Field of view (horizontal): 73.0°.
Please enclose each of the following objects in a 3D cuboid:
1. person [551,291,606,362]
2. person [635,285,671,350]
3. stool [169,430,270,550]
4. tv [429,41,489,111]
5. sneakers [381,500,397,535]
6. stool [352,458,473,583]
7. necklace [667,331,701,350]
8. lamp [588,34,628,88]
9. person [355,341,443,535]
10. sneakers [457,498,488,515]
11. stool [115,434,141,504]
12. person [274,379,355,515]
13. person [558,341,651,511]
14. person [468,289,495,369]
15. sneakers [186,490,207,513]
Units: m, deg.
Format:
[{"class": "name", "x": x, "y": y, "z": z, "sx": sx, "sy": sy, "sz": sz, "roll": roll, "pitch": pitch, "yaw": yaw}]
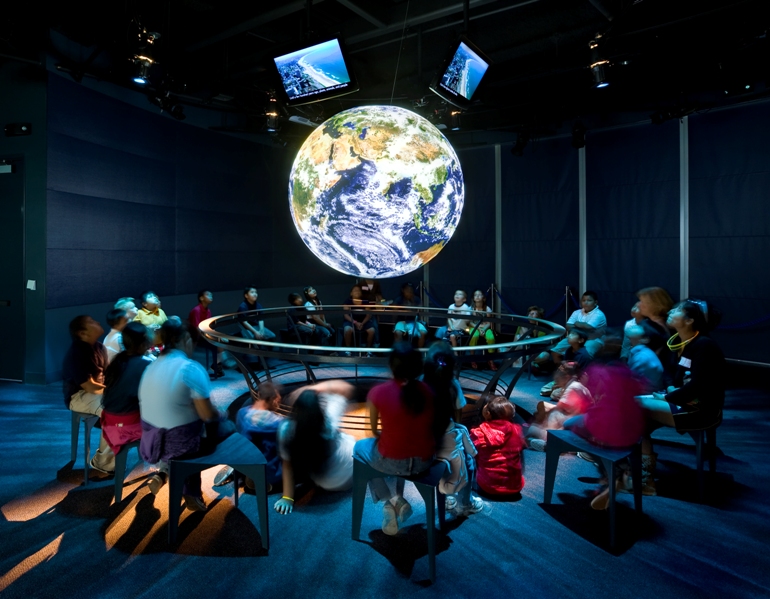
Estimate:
[{"class": "person", "x": 3.114, "y": 0.560, "z": 8.316, "sx": 0.717, "sy": 1.301, "sz": 0.535, "roll": 1, "pitch": 5, "yaw": -33}, {"class": "person", "x": 2.935, "y": 0.221, "z": 5.710, "sx": 0.319, "sy": 0.731, "sz": 0.301, "roll": -2, "pitch": 13, "yaw": 3}, {"class": "stool", "x": -1.476, "y": 1.626, "z": 4.460, "sx": 0.955, "sy": 0.761, "sz": 1.115, "roll": 2, "pitch": 4, "yaw": -6}, {"class": "tv", "x": 0.824, "y": -2.914, "z": 6.512, "sx": 0.433, "sy": 0.750, "sz": 0.827, "roll": 30, "pitch": 28, "yaw": 33}, {"class": "sneakers", "x": 0.038, "y": 1.834, "z": 4.339, "sx": 0.095, "sy": 0.100, "sz": 0.277, "roll": 0, "pitch": 12, "yaw": 3}, {"class": "stool", "x": 0.136, "y": 1.654, "z": 4.369, "sx": 0.874, "sy": 0.661, "sz": 0.889, "roll": 1, "pitch": 1, "yaw": -28}, {"class": "necklace", "x": 3.010, "y": 0.434, "z": 5.334, "sx": 0.189, "sy": 0.058, "sz": 0.237, "roll": 10, "pitch": 22, "yaw": 36}, {"class": "lamp", "x": 2.981, "y": -3.266, "z": 7.087, "sx": 0.410, "sy": 0.648, "sz": 0.422, "roll": -4, "pitch": 19, "yaw": 22}, {"class": "person", "x": 0.085, "y": 1.151, "z": 4.210, "sx": 0.662, "sy": 1.625, "sz": 0.301, "roll": 2, "pitch": 11, "yaw": 7}, {"class": "sneakers", "x": 0.773, "y": 1.856, "z": 4.673, "sx": 0.305, "sy": 0.136, "sz": 0.115, "roll": -9, "pitch": 18, "yaw": -28}, {"class": "stool", "x": -2.297, "y": 1.535, "z": 4.622, "sx": 0.214, "sy": 0.606, "sz": 0.323, "roll": -4, "pitch": 12, "yaw": -21}, {"class": "person", "x": -0.671, "y": 1.169, "z": 5.054, "sx": 0.712, "sy": 1.210, "sz": 1.700, "roll": -1, "pitch": 12, "yaw": -5}, {"class": "person", "x": 1.896, "y": 1.151, "z": 4.739, "sx": 0.869, "sy": 1.363, "sz": 0.973, "roll": -6, "pitch": 5, "yaw": 3}, {"class": "person", "x": 1.649, "y": 0.488, "z": 9.140, "sx": 0.428, "sy": 1.276, "sz": 0.672, "roll": 0, "pitch": -1, "yaw": 5}, {"class": "sneakers", "x": -1.675, "y": 1.758, "z": 4.551, "sx": 0.192, "sy": 0.203, "sz": 0.147, "roll": 2, "pitch": -5, "yaw": 6}]
